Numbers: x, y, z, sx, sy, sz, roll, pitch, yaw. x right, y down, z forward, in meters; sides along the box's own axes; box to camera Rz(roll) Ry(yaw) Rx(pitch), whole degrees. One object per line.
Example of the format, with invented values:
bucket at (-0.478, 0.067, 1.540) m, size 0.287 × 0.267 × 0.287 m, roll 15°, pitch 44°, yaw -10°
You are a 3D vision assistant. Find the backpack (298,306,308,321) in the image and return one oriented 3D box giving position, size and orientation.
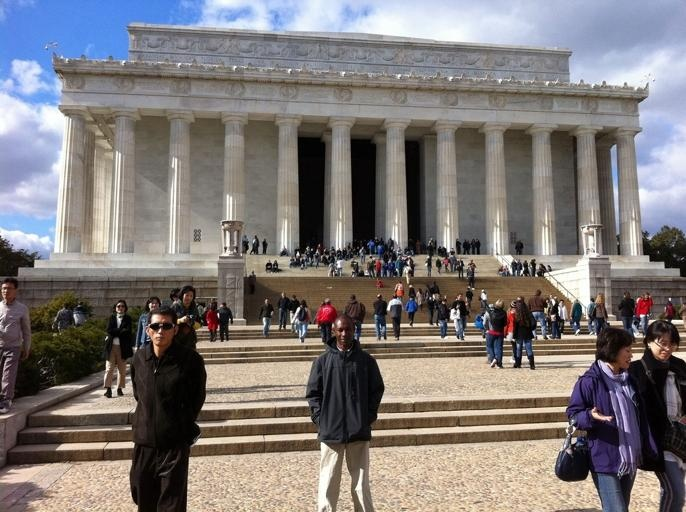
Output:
backpack at (-1.316, 1.889, 21.525) m, size 0.430 × 0.632 × 0.323 m, roll 2°, pitch -14°, yaw -6°

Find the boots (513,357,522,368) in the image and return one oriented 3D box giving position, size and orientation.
boots at (4.489, 2.709, 16.903) m, size 0.196 × 0.301 × 0.443 m, roll -2°, pitch -3°, yaw 11°

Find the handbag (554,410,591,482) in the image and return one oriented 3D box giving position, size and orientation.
handbag at (2.622, 2.133, 7.364) m, size 0.346 × 0.809 × 0.244 m, roll 1°, pitch -26°, yaw 26°

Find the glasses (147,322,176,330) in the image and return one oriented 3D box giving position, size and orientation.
glasses at (-2.040, 0.788, 7.364) m, size 0.254 × 0.084 × 0.059 m, roll 0°, pitch -3°, yaw -17°

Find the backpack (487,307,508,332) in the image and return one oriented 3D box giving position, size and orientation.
backpack at (3.940, 1.630, 16.804) m, size 0.602 × 0.735 × 0.414 m, roll 2°, pitch 2°, yaw 18°

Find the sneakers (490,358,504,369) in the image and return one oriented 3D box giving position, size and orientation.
sneakers at (3.937, 2.772, 16.920) m, size 0.154 × 0.165 × 0.377 m, roll 6°, pitch -5°, yaw 2°

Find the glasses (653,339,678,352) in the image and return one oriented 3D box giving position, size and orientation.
glasses at (3.663, 1.034, 7.551) m, size 0.180 × 0.057 × 0.187 m, roll 9°, pitch -7°, yaw 11°

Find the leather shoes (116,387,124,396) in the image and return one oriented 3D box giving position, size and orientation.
leather shoes at (-4.438, 2.694, 13.050) m, size 0.091 × 0.169 × 0.167 m, roll 6°, pitch -19°, yaw -24°
